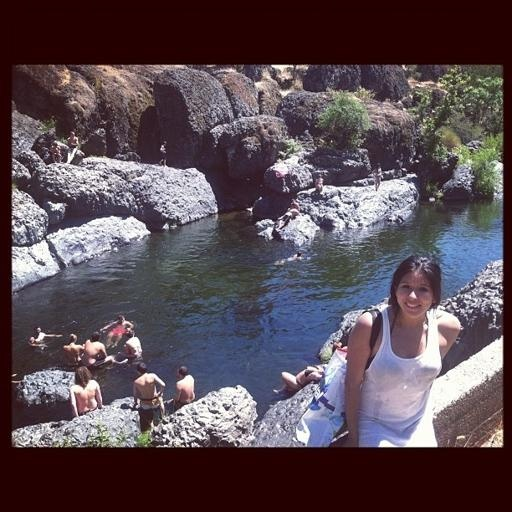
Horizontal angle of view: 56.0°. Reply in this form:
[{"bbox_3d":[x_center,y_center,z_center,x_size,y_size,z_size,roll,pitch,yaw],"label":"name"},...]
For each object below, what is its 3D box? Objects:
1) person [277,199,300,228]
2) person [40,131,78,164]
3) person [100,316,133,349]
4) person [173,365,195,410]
[{"bbox_3d":[1.256,-1.631,18.386,0.779,0.847,2.344,1,11,13],"label":"person"},{"bbox_3d":[-7.222,-3.896,17.503,1.326,1.735,0.591,5,-18,-28],"label":"person"},{"bbox_3d":[-2.945,1.588,10.050,0.481,0.246,0.789,-12,15,9],"label":"person"},{"bbox_3d":[-1.117,2.041,7.401,0.306,0.932,0.506,-3,38,-9],"label":"person"}]
